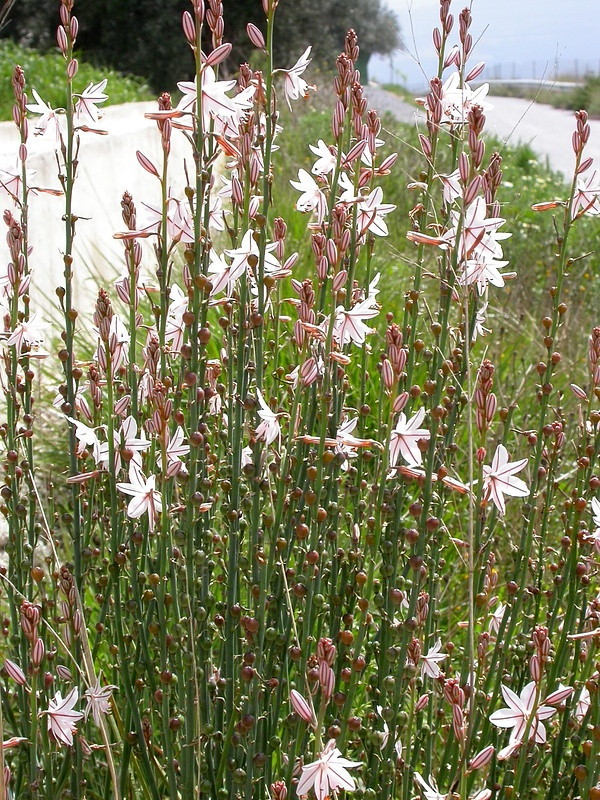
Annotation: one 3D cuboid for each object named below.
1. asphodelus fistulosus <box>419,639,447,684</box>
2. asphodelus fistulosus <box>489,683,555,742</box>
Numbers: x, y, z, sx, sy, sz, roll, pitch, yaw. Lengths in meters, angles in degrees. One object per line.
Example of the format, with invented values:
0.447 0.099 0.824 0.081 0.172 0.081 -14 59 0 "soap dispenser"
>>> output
0.279 0.532 3.821 0.027 0.084 0.074 1 41 -15 "asphodelus fistulosus"
0.427 0.608 3.643 0.109 0.142 0.034 -3 18 19 "asphodelus fistulosus"
